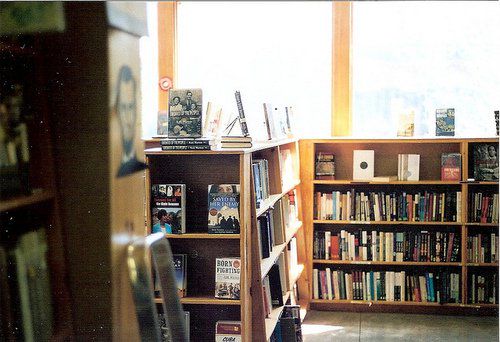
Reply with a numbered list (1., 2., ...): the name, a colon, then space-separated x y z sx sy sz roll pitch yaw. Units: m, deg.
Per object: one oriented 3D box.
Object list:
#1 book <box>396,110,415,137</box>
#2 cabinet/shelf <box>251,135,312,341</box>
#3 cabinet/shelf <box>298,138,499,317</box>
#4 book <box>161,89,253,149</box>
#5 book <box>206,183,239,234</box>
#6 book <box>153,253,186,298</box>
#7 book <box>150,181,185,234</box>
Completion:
1. book: 1.555 -0.482 4.835 0.169 0.258 0.052 0 1 21
2. cabinet/shelf: 0.254 0.552 3.994 0.332 1.614 1.258 -7 29 6
3. cabinet/shelf: 1.497 0.591 4.789 1.876 1.538 0.503 0 -1 6
4. book: -0.266 -0.266 2.990 0.484 0.282 0.467 0 4 7
5. book: -0.159 0.229 2.907 0.190 0.301 0.085 -1 1 -4
6. book: -0.450 0.619 2.735 0.091 0.250 0.353 0 1 8
7. book: -0.480 0.222 2.826 0.183 0.288 0.075 -1 1 -15
